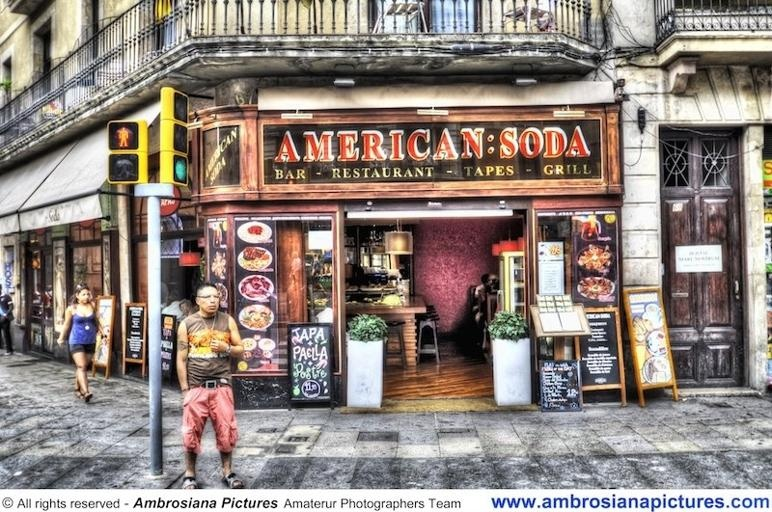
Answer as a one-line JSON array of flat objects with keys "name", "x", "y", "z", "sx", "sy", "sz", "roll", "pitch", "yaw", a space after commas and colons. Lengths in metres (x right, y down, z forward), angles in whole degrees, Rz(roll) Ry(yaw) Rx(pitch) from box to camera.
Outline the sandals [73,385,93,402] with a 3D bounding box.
[{"name": "sandals", "x": -5.873, "y": 2.654, "z": 14.905, "sx": 0.179, "sy": 0.251, "sz": 0.581, "roll": -3, "pitch": -20, "yaw": -33}]

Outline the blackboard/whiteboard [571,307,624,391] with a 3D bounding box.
[{"name": "blackboard/whiteboard", "x": 3.995, "y": 1.817, "z": 14.246, "sx": 0.840, "sy": 1.618, "sz": 0.704, "roll": 1, "pitch": 14, "yaw": 12}]

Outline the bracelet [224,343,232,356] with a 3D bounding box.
[{"name": "bracelet", "x": -2.406, "y": 1.393, "z": 11.676, "sx": 0.092, "sy": 0.147, "sz": 0.136, "roll": 4, "pitch": -21, "yaw": -22}]

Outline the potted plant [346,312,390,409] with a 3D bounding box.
[{"name": "potted plant", "x": -0.375, "y": 1.929, "z": 14.496, "sx": 0.741, "sy": 1.602, "sz": 0.669, "roll": 2, "pitch": 9, "yaw": 3}]

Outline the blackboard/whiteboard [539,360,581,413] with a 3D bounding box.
[{"name": "blackboard/whiteboard", "x": 3.160, "y": 2.354, "z": 13.933, "sx": 0.884, "sy": 1.026, "sz": 0.145, "roll": 0, "pitch": -3, "yaw": 1}]

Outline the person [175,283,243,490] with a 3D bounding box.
[{"name": "person", "x": -2.702, "y": 1.976, "z": 12.045, "sx": 1.048, "sy": 2.783, "sz": 1.330, "roll": 0, "pitch": 0, "yaw": -14}]

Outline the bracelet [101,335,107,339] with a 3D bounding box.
[{"name": "bracelet", "x": -6.214, "y": 1.741, "z": 16.885, "sx": 0.143, "sy": 0.087, "sz": 0.138, "roll": -2, "pitch": 2, "yaw": -10}]

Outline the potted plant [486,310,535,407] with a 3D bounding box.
[{"name": "potted plant", "x": 2.342, "y": 1.872, "z": 14.517, "sx": 0.815, "sy": 1.643, "sz": 0.704, "roll": 2, "pitch": 9, "yaw": 3}]

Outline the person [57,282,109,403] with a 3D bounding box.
[{"name": "person", "x": -6.016, "y": 1.644, "z": 15.335, "sx": 0.748, "sy": 2.504, "sz": 1.107, "roll": 0, "pitch": 0, "yaw": -11}]

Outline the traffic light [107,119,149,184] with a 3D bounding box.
[{"name": "traffic light", "x": -4.036, "y": -1.612, "z": 12.002, "sx": 0.635, "sy": 0.961, "sz": 0.519, "roll": -7, "pitch": 15, "yaw": -21}]

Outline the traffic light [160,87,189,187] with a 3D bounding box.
[{"name": "traffic light", "x": -3.397, "y": -1.876, "z": 12.074, "sx": 0.487, "sy": 1.446, "sz": 0.432, "roll": -1, "pitch": 17, "yaw": 1}]

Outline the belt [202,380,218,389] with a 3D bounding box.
[{"name": "belt", "x": -2.643, "y": 1.905, "z": 11.573, "sx": 0.208, "sy": 0.195, "sz": 0.107, "roll": 1, "pitch": -4, "yaw": -5}]
